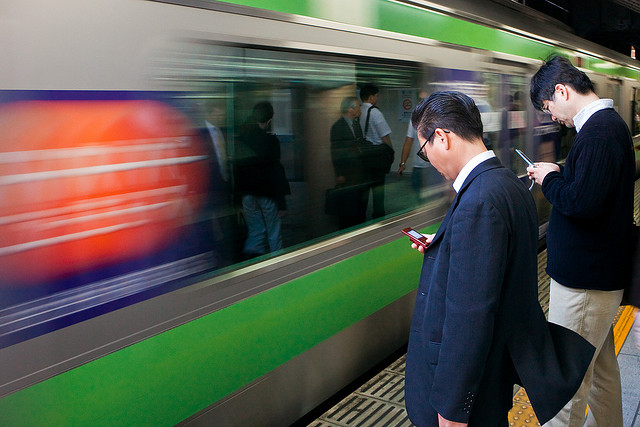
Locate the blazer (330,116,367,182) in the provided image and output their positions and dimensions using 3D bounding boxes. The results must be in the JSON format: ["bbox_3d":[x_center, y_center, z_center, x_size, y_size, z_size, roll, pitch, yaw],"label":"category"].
[{"bbox_3d":[0.235,-0.551,3.245,0.071,0.553,0.439,7,18,38],"label":"blazer"}]

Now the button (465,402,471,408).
[{"bbox_3d":[0.604,0.783,1.545,0.029,0.024,0.006,1,-5,9],"label":"button"}]

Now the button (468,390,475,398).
[{"bbox_3d":[0.621,0.737,1.544,0.024,0.021,0.007,1,-1,2],"label":"button"}]

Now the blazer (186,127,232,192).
[{"bbox_3d":[-0.689,-0.331,2.278,0.069,0.375,0.312,3,15,25],"label":"blazer"}]

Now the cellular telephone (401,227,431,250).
[{"bbox_3d":[0.527,0.135,2.066,0.053,0.037,0.165,-21,31,-16],"label":"cellular telephone"}]

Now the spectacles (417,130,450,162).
[{"bbox_3d":[0.561,-0.329,1.885,0.117,0.108,0.031,16,13,-43],"label":"spectacles"}]

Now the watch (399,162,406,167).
[{"bbox_3d":[0.828,-0.501,3.818,0.053,0.030,0.045,-5,-4,-21],"label":"watch"}]

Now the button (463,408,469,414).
[{"bbox_3d":[0.599,0.809,1.546,0.023,0.019,0.007,10,1,4],"label":"button"}]

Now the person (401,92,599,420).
[{"bbox_3d":[0.740,0.200,1.693,0.789,1.475,0.523,-6,15,-9],"label":"person"}]

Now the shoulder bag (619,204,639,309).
[{"bbox_3d":[1.947,0.326,2.333,0.082,0.605,0.209,4,17,30],"label":"shoulder bag"}]
